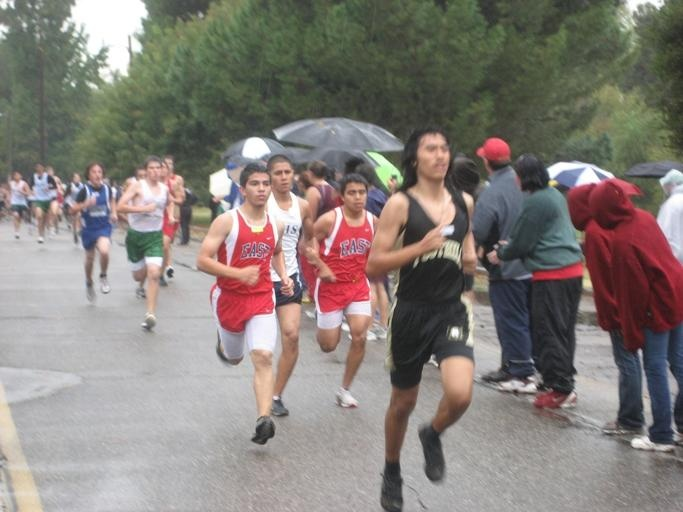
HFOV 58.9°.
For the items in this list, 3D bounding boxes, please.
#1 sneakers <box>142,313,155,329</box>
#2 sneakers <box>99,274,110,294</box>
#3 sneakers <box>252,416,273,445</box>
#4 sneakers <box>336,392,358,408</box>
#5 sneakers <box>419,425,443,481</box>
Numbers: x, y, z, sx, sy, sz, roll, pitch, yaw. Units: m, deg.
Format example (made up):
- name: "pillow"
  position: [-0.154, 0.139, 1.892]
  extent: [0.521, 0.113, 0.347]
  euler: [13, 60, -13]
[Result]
- name: "sneakers"
  position: [-2.862, 0.970, 8.929]
  extent: [0.134, 0.163, 0.343]
  euler: [21, -31, -14]
- name: "sneakers"
  position: [-4.726, 0.529, 11.974]
  extent: [0.106, 0.341, 0.136]
  euler: [-12, -12, -27]
- name: "sneakers"
  position: [-0.610, 1.354, 4.623]
  extent: [0.103, 0.131, 0.303]
  euler: [9, -45, -12]
- name: "sneakers"
  position: [0.034, 1.395, 5.939]
  extent: [0.107, 0.103, 0.223]
  euler: [-2, -2, -31]
- name: "sneakers"
  position: [0.538, 1.190, 3.662]
  extent: [0.158, 0.398, 0.151]
  euler: [2, 6, 12]
